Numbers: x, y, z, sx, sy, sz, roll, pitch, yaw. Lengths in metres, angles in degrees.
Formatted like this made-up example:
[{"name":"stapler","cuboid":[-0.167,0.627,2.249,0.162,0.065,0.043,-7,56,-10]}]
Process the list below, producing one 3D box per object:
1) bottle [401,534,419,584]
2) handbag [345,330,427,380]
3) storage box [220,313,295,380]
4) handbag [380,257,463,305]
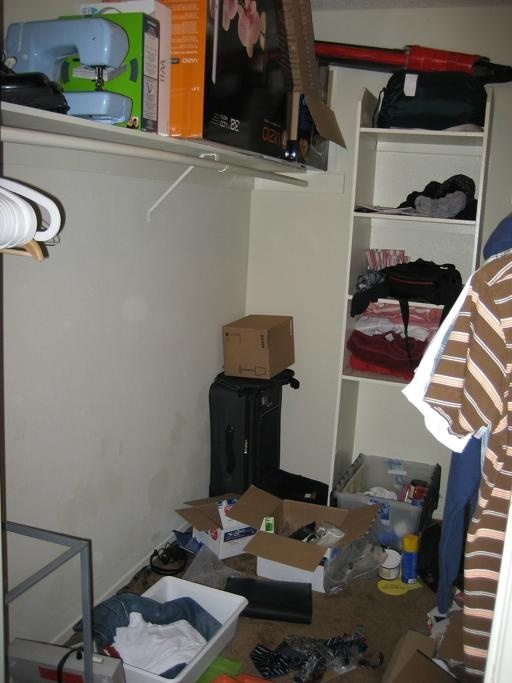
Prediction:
[{"name":"bottle","cuboid":[0.618,0.870,2.349,0.068,0.198,0.108,7,2,18]},{"name":"handbag","cuboid":[0.554,0.013,2.513,0.235,0.093,0.236,-1,16,-26]},{"name":"storage box","cuboid":[0.012,0.020,2.818,0.249,0.247,0.342,4,10,28]},{"name":"handbag","cuboid":[0.660,-0.239,2.376,0.224,0.103,0.262,8,17,20]}]
